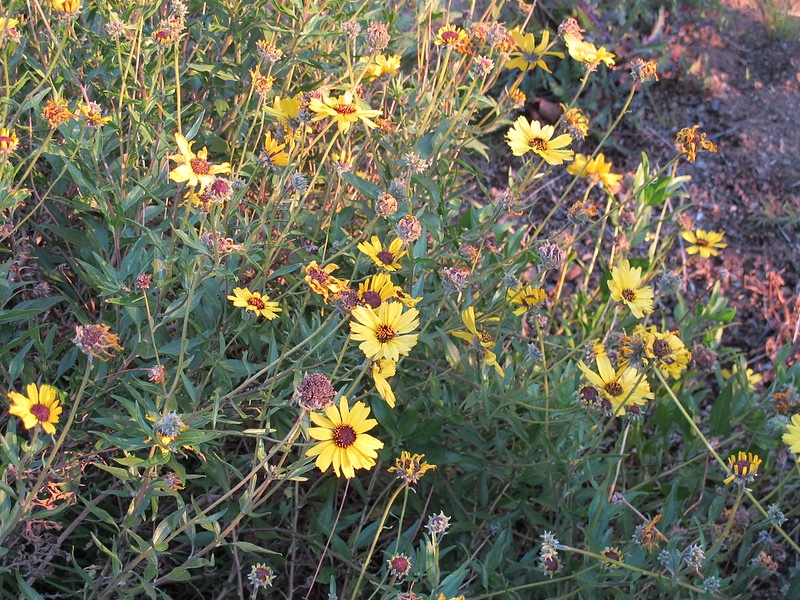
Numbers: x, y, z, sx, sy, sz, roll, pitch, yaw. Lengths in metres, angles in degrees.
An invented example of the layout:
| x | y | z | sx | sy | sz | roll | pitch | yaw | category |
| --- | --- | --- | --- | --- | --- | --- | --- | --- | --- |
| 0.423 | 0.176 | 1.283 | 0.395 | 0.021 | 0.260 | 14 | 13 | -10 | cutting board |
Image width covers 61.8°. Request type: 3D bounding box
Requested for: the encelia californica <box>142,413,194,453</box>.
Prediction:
| x | y | z | sx | sy | sz | roll | pitch | yaw | category |
| --- | --- | --- | --- | --- | --- | --- | --- | --- | --- |
| -0.702 | 0.388 | 2.034 | 0.110 | 0.072 | 0.119 | 16 | 68 | -59 | encelia californica |

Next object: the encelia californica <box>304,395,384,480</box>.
| x | y | z | sx | sy | sz | roll | pitch | yaw | category |
| --- | --- | --- | --- | --- | --- | --- | --- | --- | --- |
| -0.171 | 0.436 | 2.047 | 0.231 | 0.067 | 0.263 | 17 | 31 | 12 | encelia californica |

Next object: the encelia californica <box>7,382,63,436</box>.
| x | y | z | sx | sy | sz | roll | pitch | yaw | category |
| --- | --- | --- | --- | --- | --- | --- | --- | --- | --- |
| -1.058 | 0.298 | 1.934 | 0.168 | 0.053 | 0.186 | 21 | 43 | -59 | encelia californica |
